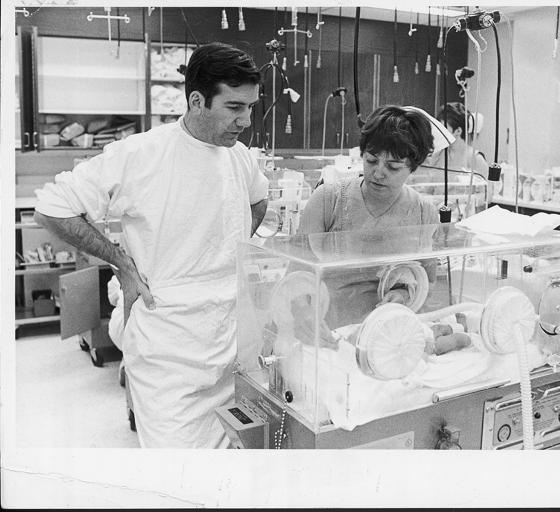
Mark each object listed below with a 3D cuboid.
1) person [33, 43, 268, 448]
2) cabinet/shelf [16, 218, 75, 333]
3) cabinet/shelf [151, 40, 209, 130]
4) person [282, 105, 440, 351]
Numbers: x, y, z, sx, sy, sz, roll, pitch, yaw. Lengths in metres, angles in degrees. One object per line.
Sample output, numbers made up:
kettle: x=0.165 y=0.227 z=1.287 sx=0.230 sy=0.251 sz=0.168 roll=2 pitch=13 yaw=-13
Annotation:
person: x=-0.402 y=-0.021 z=2.141 sx=0.738 sy=1.337 sz=0.372 roll=-2 pitch=5 yaw=-11
cabinet/shelf: x=-1.403 y=0.115 z=3.662 sx=0.567 sy=0.650 sz=0.201 roll=-3 pitch=5 yaw=-29
cabinet/shelf: x=-0.909 y=-1.385 z=5.191 sx=0.304 sy=0.663 sz=0.192 roll=-2 pitch=14 yaw=-17
person: x=0.317 y=0.136 z=2.344 sx=0.463 sy=1.403 sz=0.434 roll=0 pitch=16 yaw=-6
